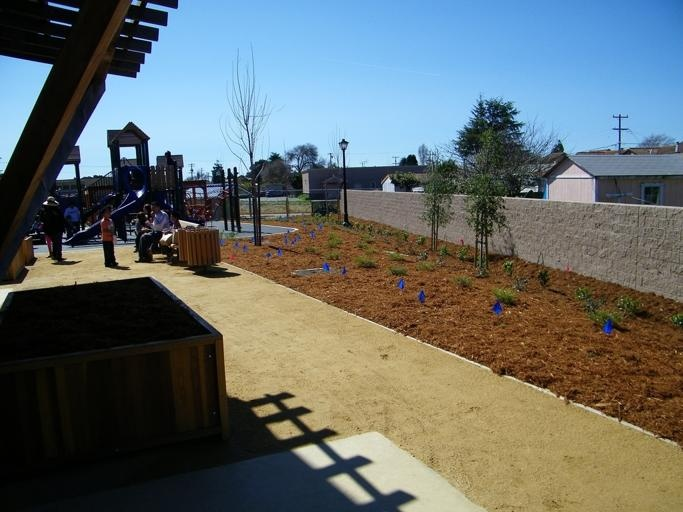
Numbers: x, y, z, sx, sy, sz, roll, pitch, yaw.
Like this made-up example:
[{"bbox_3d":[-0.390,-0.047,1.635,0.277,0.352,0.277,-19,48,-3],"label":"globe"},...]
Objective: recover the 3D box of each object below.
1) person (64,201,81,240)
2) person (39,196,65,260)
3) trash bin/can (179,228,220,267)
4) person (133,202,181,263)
[{"bbox_3d":[-12.265,-1.520,23.006,0.650,1.989,0.466,-12,25,-44],"label":"person"},{"bbox_3d":[-8.206,-0.766,14.386,0.527,1.844,0.593,-8,14,-31],"label":"person"},{"bbox_3d":[-3.621,-0.249,12.649,0.853,0.834,1.012,-3,7,-23],"label":"trash bin/can"},{"bbox_3d":[-5.461,-0.742,14.715,1.014,1.573,1.465,-6,13,-22],"label":"person"}]
